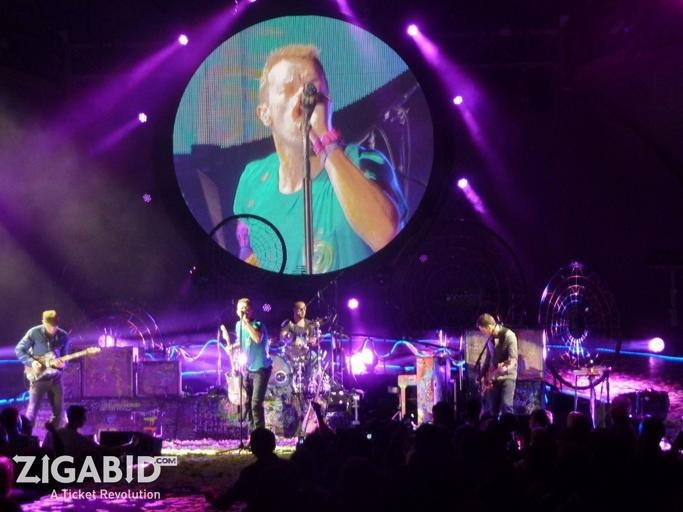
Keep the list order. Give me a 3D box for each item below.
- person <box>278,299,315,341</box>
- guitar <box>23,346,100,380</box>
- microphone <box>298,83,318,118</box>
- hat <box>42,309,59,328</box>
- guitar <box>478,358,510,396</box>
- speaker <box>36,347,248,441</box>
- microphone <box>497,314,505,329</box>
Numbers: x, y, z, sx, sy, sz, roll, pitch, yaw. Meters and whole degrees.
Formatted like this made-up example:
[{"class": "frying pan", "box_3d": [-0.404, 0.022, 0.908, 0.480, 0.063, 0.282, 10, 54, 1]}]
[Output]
[{"class": "person", "box_3d": [-0.688, 1.070, 10.656, 0.710, 0.743, 0.413, 7, -13, -33]}, {"class": "guitar", "box_3d": [-3.924, 1.529, 9.978, 0.888, 0.523, 0.372, 12, -15, -41]}, {"class": "microphone", "box_3d": [-0.516, -2.608, 11.998, 0.261, 0.576, 0.208, 33, 22, 31]}, {"class": "hat", "box_3d": [-4.113, 0.896, 10.084, 0.229, 0.218, 0.347, 0, 12, -34]}, {"class": "guitar", "box_3d": [2.068, 1.645, 9.619, 0.252, 0.475, 0.135, 14, -13, 42]}, {"class": "speaker", "box_3d": [-2.680, 2.133, 10.108, 2.131, 1.448, 2.256, 0, -3, -1]}, {"class": "microphone", "box_3d": [2.344, 0.983, 10.504, 0.098, 0.215, 0.178, 2, 3, 8]}]
